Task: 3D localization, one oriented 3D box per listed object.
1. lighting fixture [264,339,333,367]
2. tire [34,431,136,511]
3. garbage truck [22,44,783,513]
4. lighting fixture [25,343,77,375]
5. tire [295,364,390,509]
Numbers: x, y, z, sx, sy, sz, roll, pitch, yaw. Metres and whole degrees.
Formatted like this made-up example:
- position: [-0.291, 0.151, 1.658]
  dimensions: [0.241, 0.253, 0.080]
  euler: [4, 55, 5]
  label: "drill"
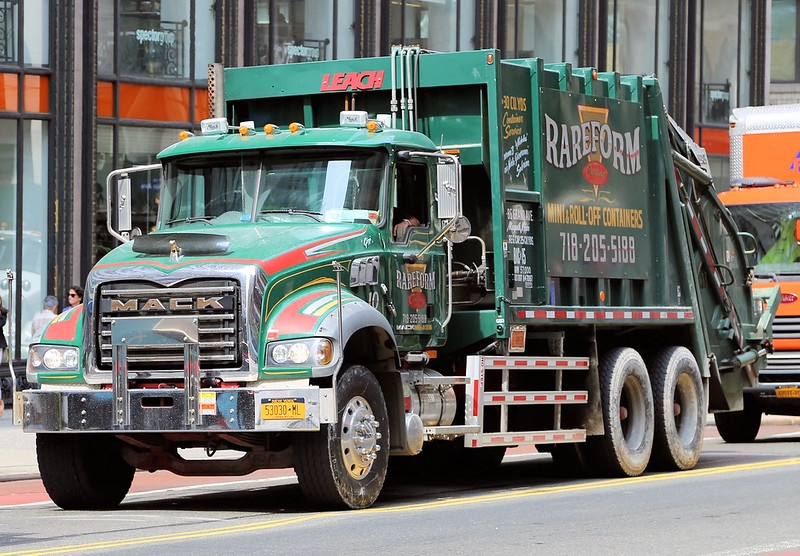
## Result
- position: [-0.954, 0.714, 11.406]
  dimensions: [0.403, 0.170, 0.318]
  euler: [-2, -2, 21]
  label: "lighting fixture"
- position: [-3.222, 1.984, 12.403]
  dimensions: [0.375, 0.936, 0.908]
  euler: [-9, -1, 31]
  label: "tire"
- position: [0.243, 0.093, 14.195]
  dimensions: [9.175, 5.615, 2.984]
  euler: [-8, 7, -44]
  label: "garbage truck"
- position: [-3.448, 0.815, 11.987]
  dimensions: [0.348, 0.365, 0.097]
  euler: [4, -2, 6]
  label: "lighting fixture"
- position: [-0.583, 1.545, 11.702]
  dimensions: [0.579, 1.374, 1.210]
  euler: [-4, -14, 29]
  label: "tire"
